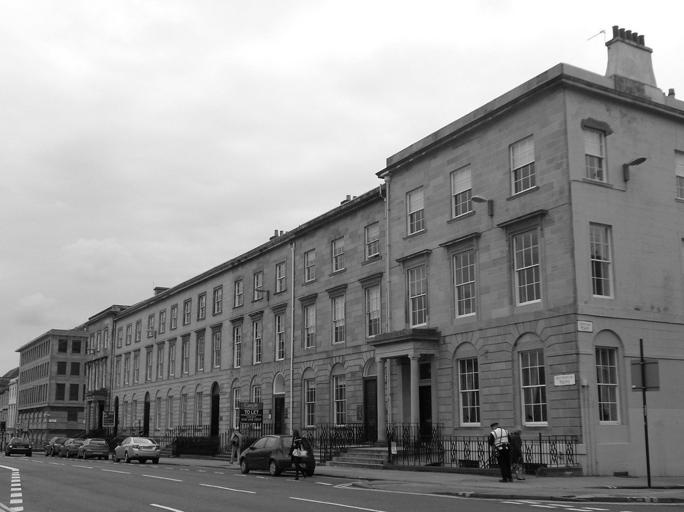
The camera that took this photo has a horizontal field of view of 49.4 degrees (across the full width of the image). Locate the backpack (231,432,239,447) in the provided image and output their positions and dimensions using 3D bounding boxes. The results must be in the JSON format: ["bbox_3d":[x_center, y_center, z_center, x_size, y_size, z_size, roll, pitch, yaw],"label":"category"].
[{"bbox_3d":[-5.766,9.852,40.298,0.339,0.643,0.560,2,-20,-6],"label":"backpack"}]

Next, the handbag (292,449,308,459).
[{"bbox_3d":[-1.689,7.772,29.422,0.408,0.208,0.552,0,-8,1],"label":"handbag"}]

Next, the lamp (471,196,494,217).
[{"bbox_3d":[5.976,-2.274,31.594,0.742,1.129,0.784,-14,-24,34],"label":"lamp"}]

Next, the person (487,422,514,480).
[{"bbox_3d":[5.482,6.839,25.725,0.706,1.825,0.444,-2,-20,5],"label":"person"}]

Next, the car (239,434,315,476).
[{"bbox_3d":[-2.731,8.573,32.100,1.857,1.424,3.218,12,-19,-33],"label":"car"}]

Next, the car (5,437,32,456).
[{"bbox_3d":[-27.437,16.382,63.257,1.628,1.243,3.845,3,-7,-22],"label":"car"}]

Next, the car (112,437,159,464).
[{"bbox_3d":[-12.196,11.418,44.073,1.417,1.053,3.271,7,-13,-32],"label":"car"}]

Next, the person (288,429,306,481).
[{"bbox_3d":[-1.771,7.891,29.698,0.689,1.923,1.354,1,-20,-3],"label":"person"}]
